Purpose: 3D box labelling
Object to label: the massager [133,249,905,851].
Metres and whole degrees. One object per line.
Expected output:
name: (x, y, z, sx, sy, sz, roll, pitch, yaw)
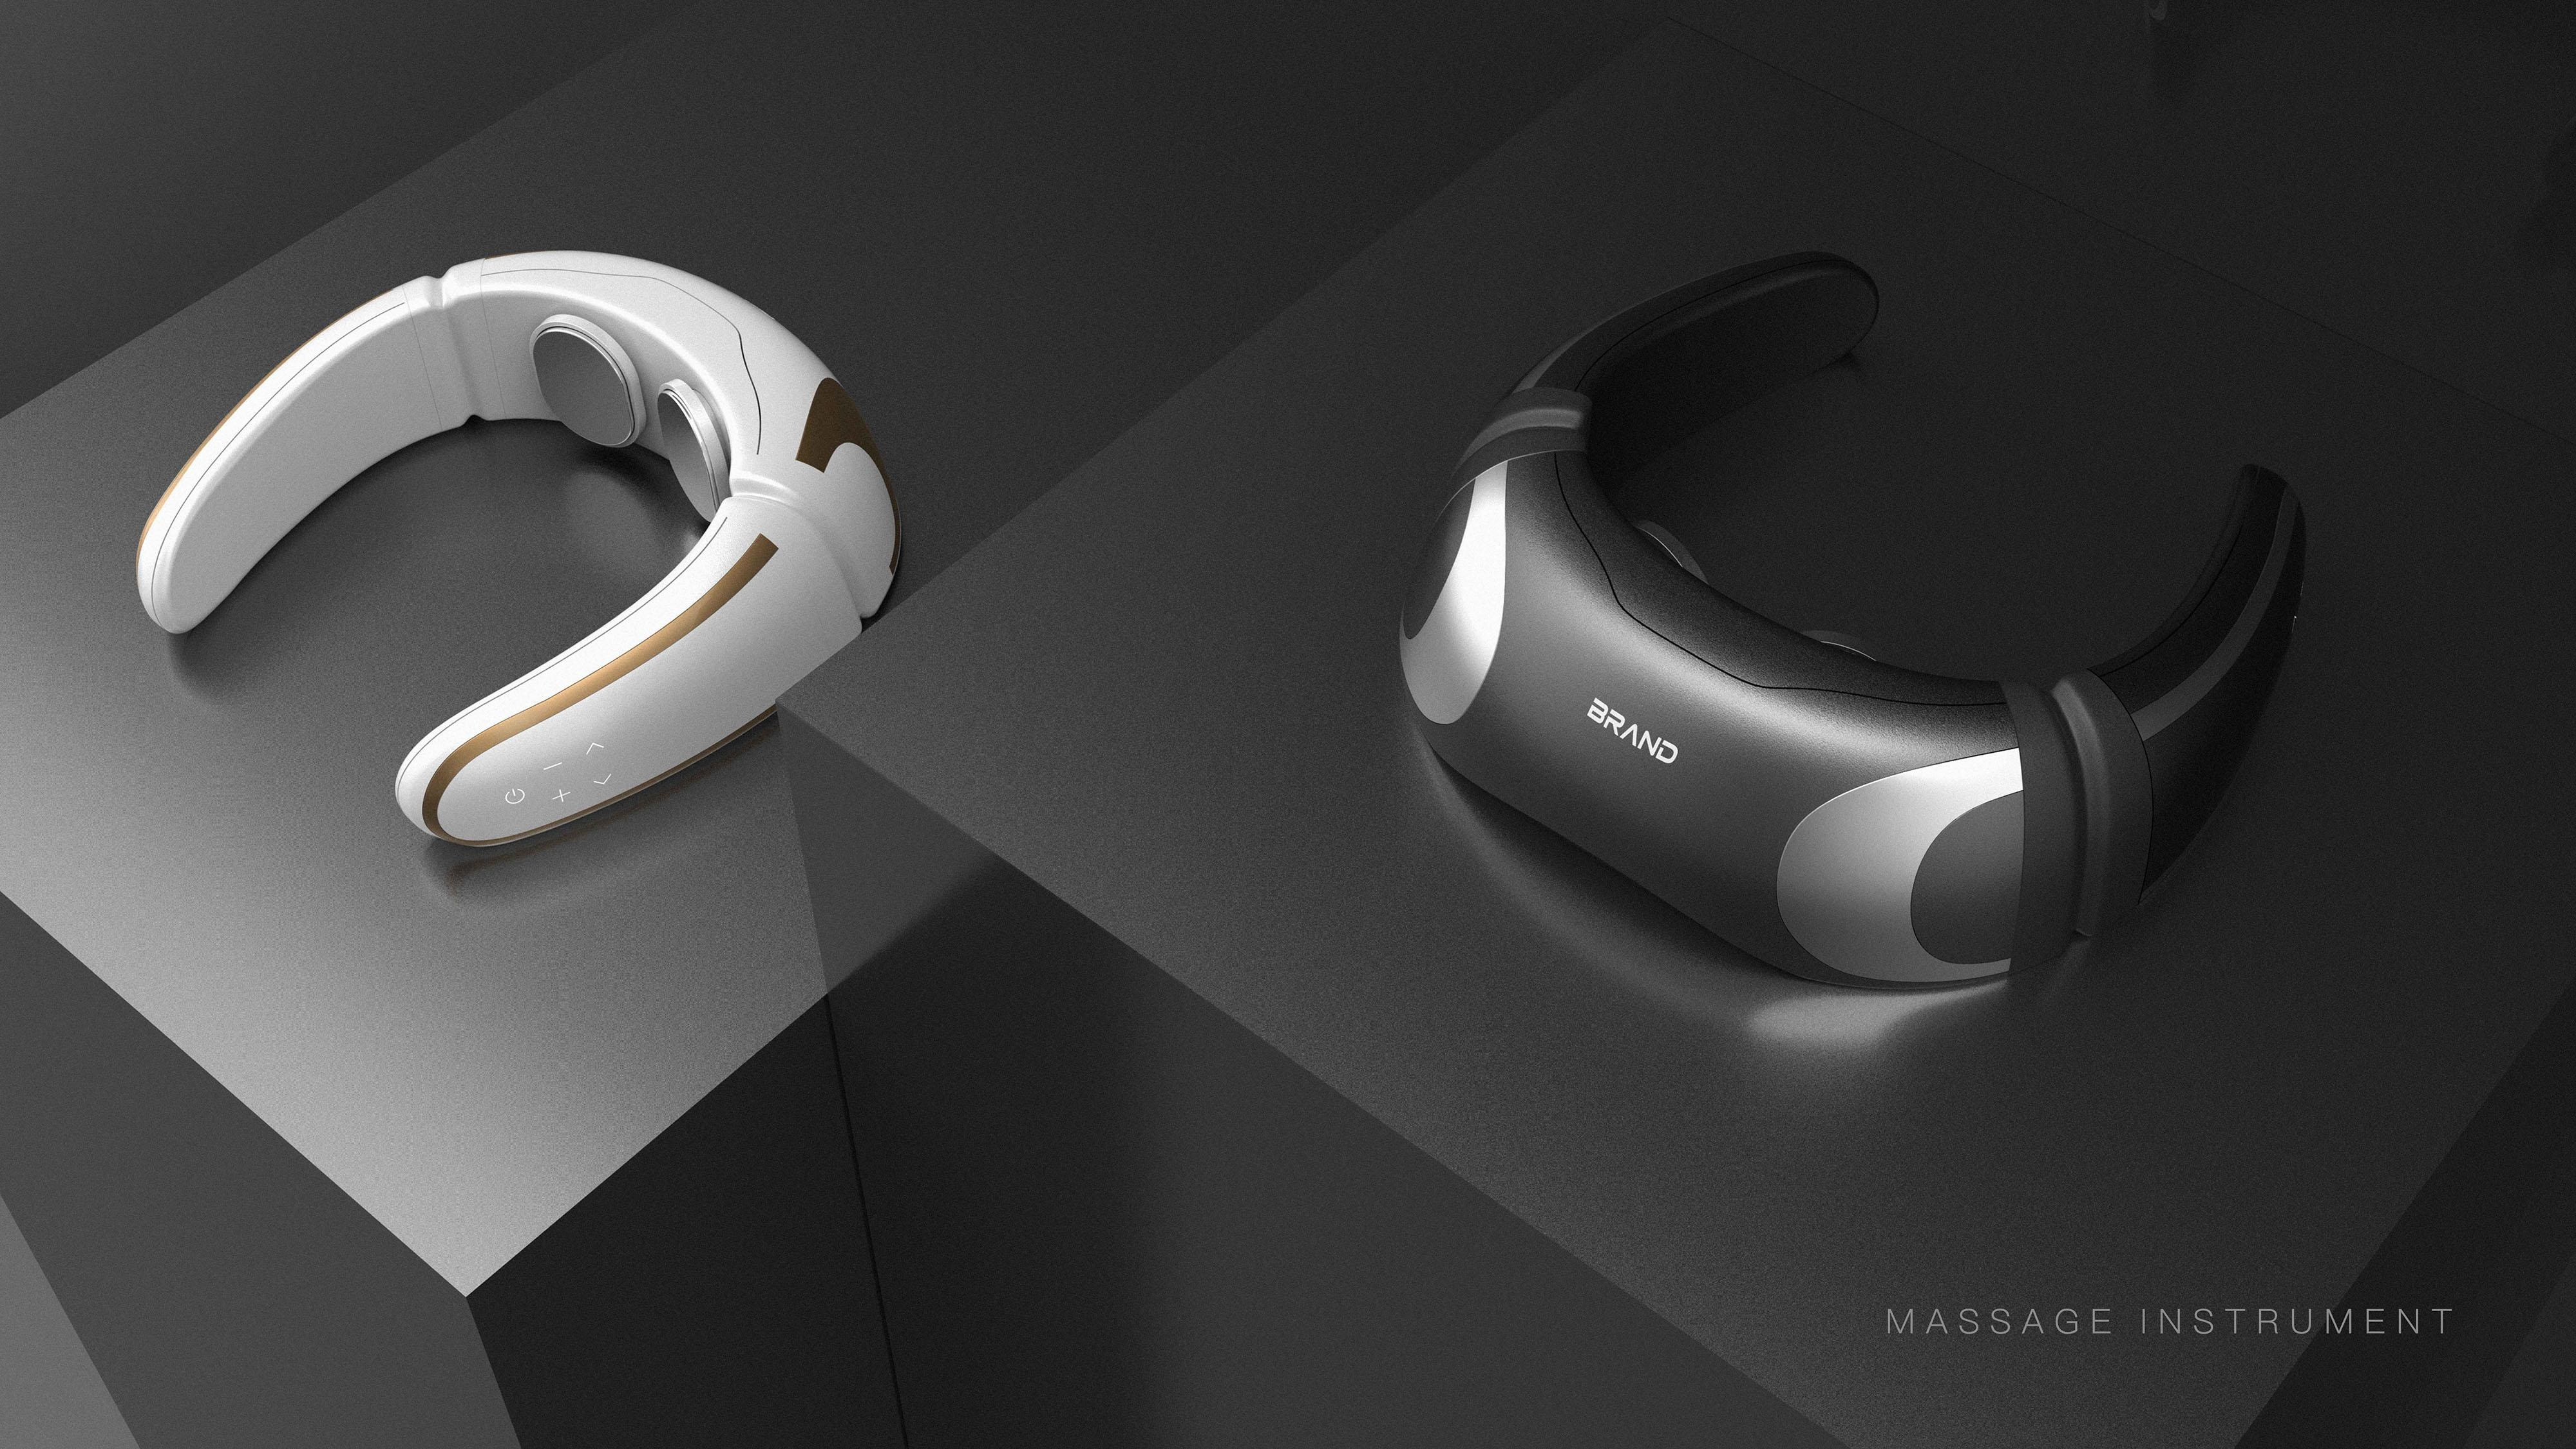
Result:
massager: (-0.415, -0.129, 1.515, 0.362, 0.379, 0.124, -46, -27, -32)
